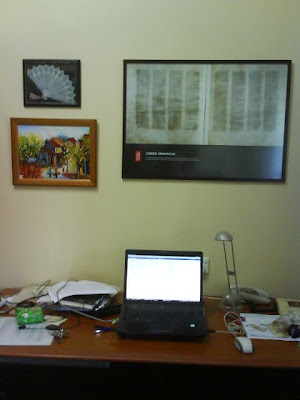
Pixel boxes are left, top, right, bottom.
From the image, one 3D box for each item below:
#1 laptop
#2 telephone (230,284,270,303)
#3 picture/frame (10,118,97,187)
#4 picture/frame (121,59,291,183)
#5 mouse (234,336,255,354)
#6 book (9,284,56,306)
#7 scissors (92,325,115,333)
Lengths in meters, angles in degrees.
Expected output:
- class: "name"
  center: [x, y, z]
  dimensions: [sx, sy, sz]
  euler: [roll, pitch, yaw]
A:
- class: "laptop"
  center: [0.057, 0.417, 1.604]
  dimensions: [0.478, 0.235, 0.441]
  euler: [-3, 12, -13]
- class: "telephone"
  center: [0.547, 0.494, 1.889]
  dimensions: [0.170, 0.053, 0.092]
  euler: [2, 9, 16]
- class: "picture/frame"
  center: [-0.543, -0.292, 2.017]
  dimensions: [0.425, 0.302, 0.018]
  euler: [1, 8, 3]
- class: "picture/frame"
  center: [0.311, -0.454, 1.967]
  dimensions: [0.956, 0.632, 0.019]
  euler: [-1, 8, -8]
- class: "mouse"
  center: [0.374, 0.575, 1.431]
  dimensions: [0.058, 0.040, 0.125]
  euler: [0, 11, -5]
- class: "book"
  center: [-0.629, 0.502, 1.866]
  dimensions: [0.142, 0.031, 0.131]
  euler: [0, 5, -2]
- class: "scissors"
  center: [-0.204, 0.571, 1.556]
  dimensions: [0.098, 0.010, 0.059]
  euler: [-3, 12, -19]
